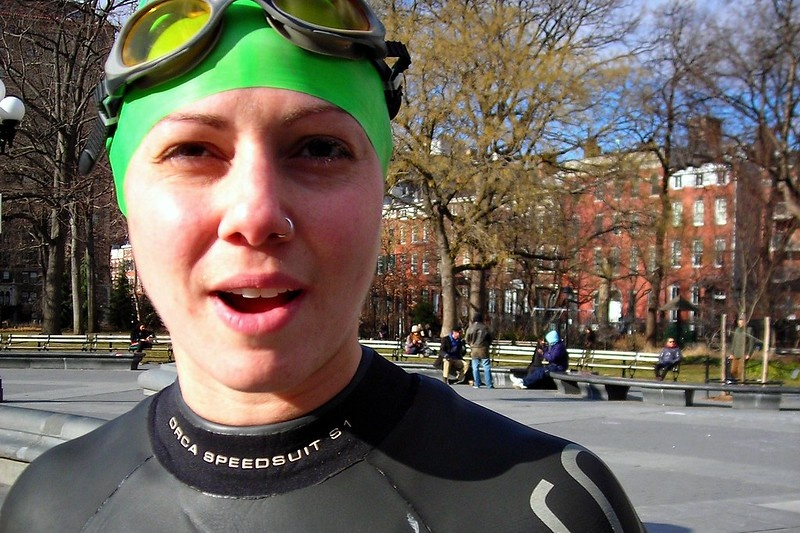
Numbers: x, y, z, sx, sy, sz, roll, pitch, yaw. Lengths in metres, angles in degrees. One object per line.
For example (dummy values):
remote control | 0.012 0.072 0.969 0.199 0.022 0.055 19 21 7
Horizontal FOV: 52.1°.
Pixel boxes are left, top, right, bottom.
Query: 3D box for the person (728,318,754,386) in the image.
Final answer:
person | 6.760 1.694 16.312 0.466 1.527 0.391 2 17 16

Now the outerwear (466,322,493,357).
outerwear | 1.666 1.521 16.755 0.654 0.982 0.532 -2 -5 19

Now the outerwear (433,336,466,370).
outerwear | 1.136 1.841 17.353 0.592 0.738 0.625 3 -4 -21

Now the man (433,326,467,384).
man | 1.209 1.857 17.340 0.670 1.169 0.706 12 11 29

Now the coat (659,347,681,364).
coat | 6.288 2.098 19.003 0.470 0.463 0.269 -8 -42 44

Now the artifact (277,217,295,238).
artifact | -0.305 -0.103 2.196 0.049 0.054 0.021 1 -8 -18
